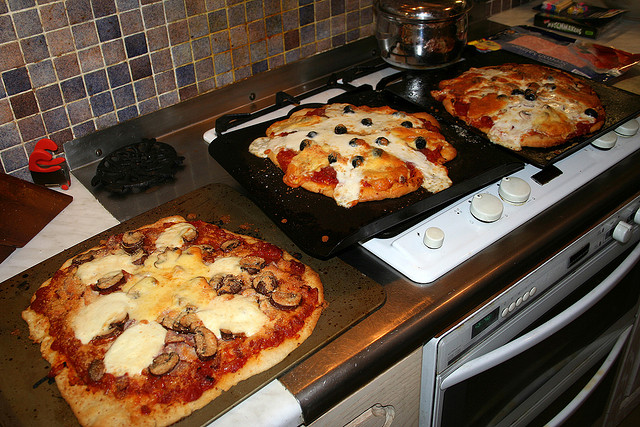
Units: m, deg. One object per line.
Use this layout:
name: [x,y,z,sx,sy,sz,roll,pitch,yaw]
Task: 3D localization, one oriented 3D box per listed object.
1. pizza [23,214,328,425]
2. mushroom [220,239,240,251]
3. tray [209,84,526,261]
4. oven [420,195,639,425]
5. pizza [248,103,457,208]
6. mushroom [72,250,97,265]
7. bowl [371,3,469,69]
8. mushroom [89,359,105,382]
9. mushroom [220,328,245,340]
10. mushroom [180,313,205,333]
pizza: [-0.337,0.201,0.969,0.558,0.045,0.536,-39,62,-23]
mushroom: [-0.217,0.076,1.061,0.039,0.009,0.021,-19,51,-25]
tray: [-0.034,-0.114,1.110,0.597,0.039,0.538,-26,45,-28]
oven: [0.541,0.238,1.161,0.573,0.487,0.378,-32,43,-20]
pizza: [0.144,-0.173,1.209,0.387,0.051,0.379,-24,42,-29]
mushroom: [-0.561,0.105,1.053,0.045,0.010,0.027,-21,30,-37]
bowl: [0.301,-0.552,1.446,0.258,0.212,0.238,-5,31,3]
mushroom: [-0.443,0.312,0.877,0.028,0.009,0.032,3,56,2]
mushroom: [-0.189,0.251,0.912,0.028,0.006,0.027,1,29,-7]
mushroom: [-0.262,0.231,0.927,0.039,0.010,0.036,-20,62,-43]
